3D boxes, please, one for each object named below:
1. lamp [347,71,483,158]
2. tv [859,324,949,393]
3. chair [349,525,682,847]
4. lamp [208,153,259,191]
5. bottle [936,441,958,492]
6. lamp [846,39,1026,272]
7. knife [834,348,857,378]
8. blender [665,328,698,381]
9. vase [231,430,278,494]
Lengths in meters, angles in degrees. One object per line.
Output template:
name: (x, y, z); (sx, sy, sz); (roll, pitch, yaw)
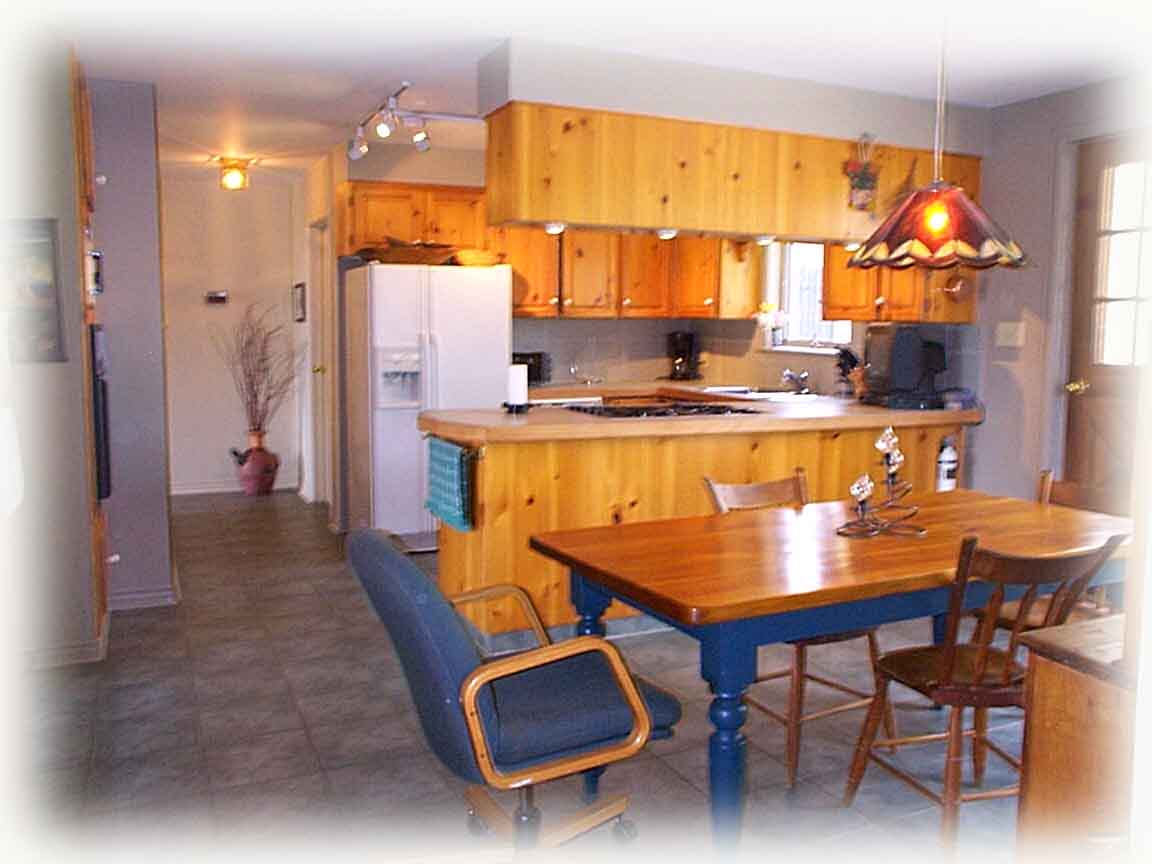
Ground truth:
lamp: (-1.141, -1.902, 5.554); (0.670, 0.299, 0.771); (8, 30, 20)
tv: (1.954, -0.442, 5.379); (0.557, 0.479, 0.319); (0, 3, -23)
chair: (-0.185, 0.740, 3.095); (1.138, 1.164, 0.902); (-3, 8, -21)
lamp: (-2.708, -2.063, 7.117); (0.339, 0.217, 0.343); (10, 15, 38)
bottle: (2.056, 0.166, 4.988); (0.083, 0.290, 0.278); (5, 11, 24)
lamp: (1.322, -0.991, 3.255); (0.664, 0.681, 0.685); (4, 21, 21)
knife: (1.801, -0.467, 6.066); (0.156, 0.185, 0.198); (4, 7, -8)
blender: (0.940, -0.670, 7.794); (0.243, 0.412, 0.270); (-3, 11, -14)
vase: (-2.936, 0.266, 8.237); (0.386, 0.578, 0.418); (-6, 12, -29)
